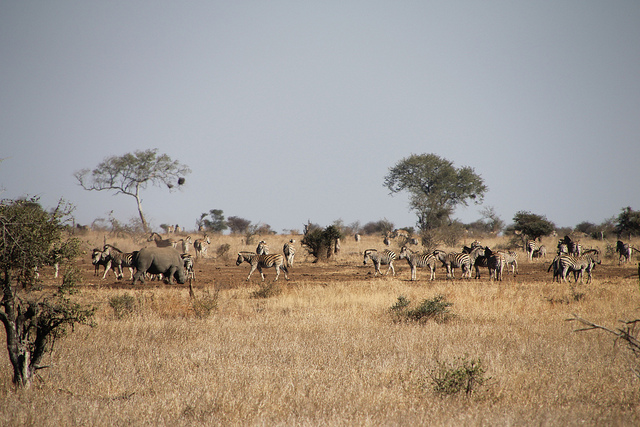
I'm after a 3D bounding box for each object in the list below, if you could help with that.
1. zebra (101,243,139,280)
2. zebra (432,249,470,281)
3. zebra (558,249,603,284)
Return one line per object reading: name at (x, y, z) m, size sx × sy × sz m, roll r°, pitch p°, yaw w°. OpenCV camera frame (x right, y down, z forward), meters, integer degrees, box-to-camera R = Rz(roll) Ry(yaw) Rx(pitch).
zebra at (-9.670, 2.376, 35.933) m, size 0.653 × 1.734 × 2.681 m, roll -7°, pitch -9°, yaw 35°
zebra at (6.865, 2.560, 38.364) m, size 2.113 × 1.742 × 0.692 m, roll -3°, pitch 12°, yaw 10°
zebra at (12.263, 2.416, 34.504) m, size 2.140 × 1.702 × 0.610 m, roll 0°, pitch 3°, yaw 38°
